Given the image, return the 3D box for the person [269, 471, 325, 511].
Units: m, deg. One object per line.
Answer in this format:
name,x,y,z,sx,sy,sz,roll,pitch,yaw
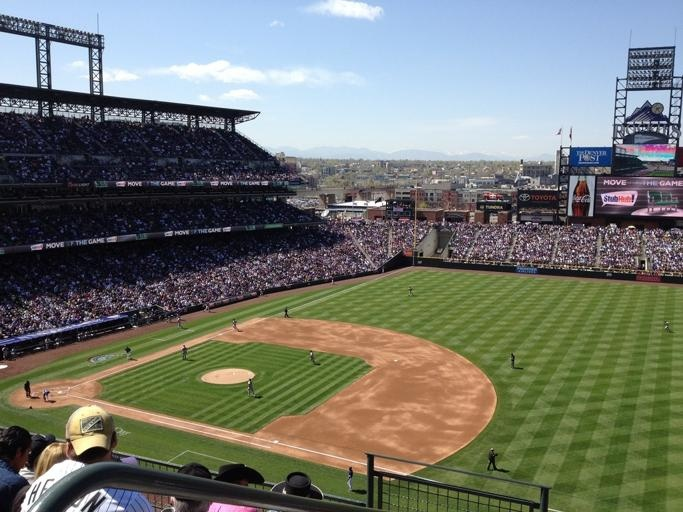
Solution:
person,-0.837,4.488,11.363,0.862,0.600,0.732,-2,13,-4
